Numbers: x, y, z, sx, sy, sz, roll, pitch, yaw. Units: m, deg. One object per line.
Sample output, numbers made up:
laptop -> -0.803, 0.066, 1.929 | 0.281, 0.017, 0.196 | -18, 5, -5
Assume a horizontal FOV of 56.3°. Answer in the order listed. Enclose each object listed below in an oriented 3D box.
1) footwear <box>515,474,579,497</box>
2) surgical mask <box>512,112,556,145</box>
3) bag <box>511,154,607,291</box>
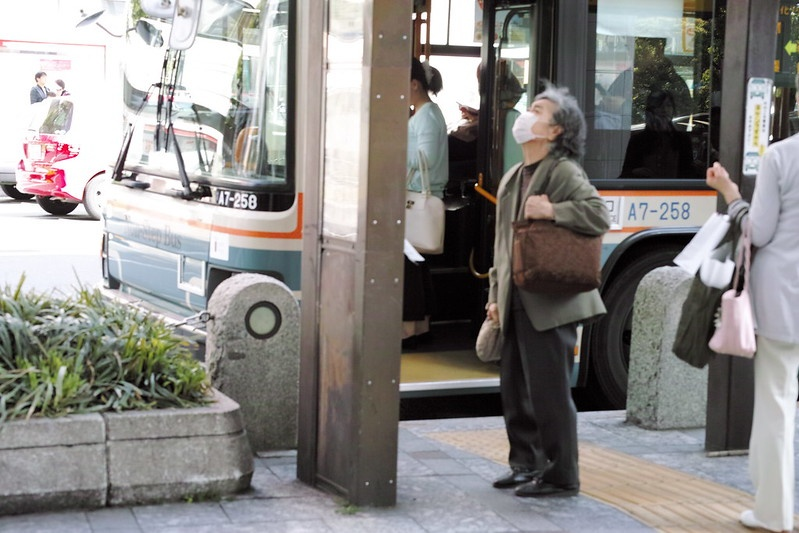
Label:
footwear -> 0.998, 1.487, 5.053 | 0.405, 0.144, 0.149 | 3, -5, -6
surgical mask -> 0.896, -0.926, 4.986 | 0.213, 0.144, 0.193 | 26, 5, -12
bag -> 1.039, -0.142, 4.866 | 0.593, 0.632, 0.252 | 5, -14, -11
